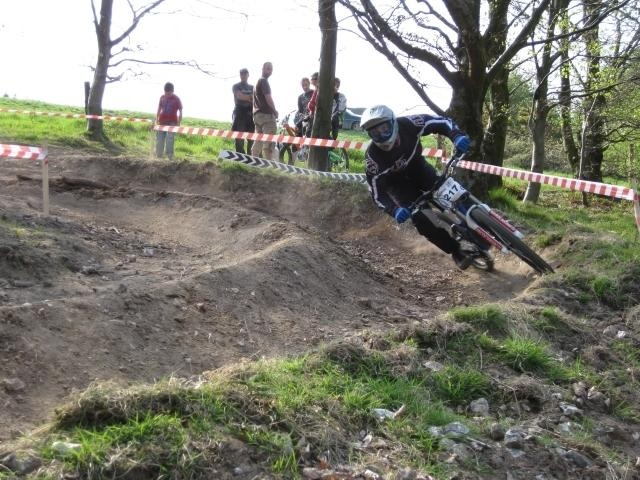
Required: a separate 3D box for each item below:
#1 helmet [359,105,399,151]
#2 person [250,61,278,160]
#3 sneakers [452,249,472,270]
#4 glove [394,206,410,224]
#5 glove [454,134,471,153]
[{"bbox_3d":[0.858,-1.600,9.096,0.523,0.608,0.348,6,10,3],"label":"helmet"},{"bbox_3d":[-1.200,-2.862,14.307,0.576,2.107,0.794,5,9,-7],"label":"person"},{"bbox_3d":[2.170,0.276,9.736,0.244,0.224,0.241,35,12,-40],"label":"sneakers"},{"bbox_3d":[1.197,-0.361,9.310,0.222,0.232,0.294,6,10,3],"label":"glove"},{"bbox_3d":[2.039,-1.386,9.200,0.205,0.249,0.216,7,10,8],"label":"glove"}]
